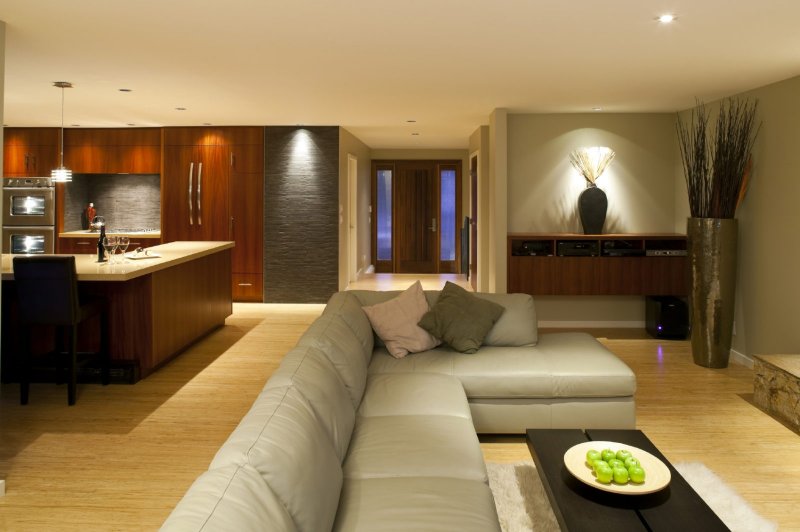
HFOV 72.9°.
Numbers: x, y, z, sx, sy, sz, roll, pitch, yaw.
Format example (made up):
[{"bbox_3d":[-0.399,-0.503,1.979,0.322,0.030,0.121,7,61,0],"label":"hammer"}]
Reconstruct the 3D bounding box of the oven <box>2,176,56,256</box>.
[{"bbox_3d":[-5.905,-0.790,8.579,0.799,1.150,0.371,0,13,2],"label":"oven"}]

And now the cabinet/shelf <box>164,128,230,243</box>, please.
[{"bbox_3d":[-3.279,-1.190,8.920,1.029,1.914,0.808,0,0,-12],"label":"cabinet/shelf"}]

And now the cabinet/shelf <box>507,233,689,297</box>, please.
[{"bbox_3d":[2.577,0.002,7.022,2.328,0.780,0.228,0,13,1],"label":"cabinet/shelf"}]

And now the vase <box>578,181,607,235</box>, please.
[{"bbox_3d":[2.517,-0.735,7.092,0.357,0.631,0.264,6,14,23],"label":"vase"}]

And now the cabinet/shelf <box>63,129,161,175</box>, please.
[{"bbox_3d":[-4.632,-1.855,8.721,1.538,0.688,0.341,3,13,11],"label":"cabinet/shelf"}]

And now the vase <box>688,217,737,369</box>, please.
[{"bbox_3d":[3.433,0.269,5.935,0.450,1.580,0.613,1,13,7],"label":"vase"}]

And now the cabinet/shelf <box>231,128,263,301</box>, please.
[{"bbox_3d":[-2.489,-0.864,8.886,0.529,2.930,0.643,-2,-7,2],"label":"cabinet/shelf"}]

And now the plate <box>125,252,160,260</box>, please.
[{"bbox_3d":[-2.755,-0.103,5.811,0.353,0.033,0.458,-6,14,-24],"label":"plate"}]

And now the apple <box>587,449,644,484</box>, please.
[{"bbox_3d":[1.274,1.169,3.168,0.199,0.072,0.204,-1,2,-21],"label":"apple"}]

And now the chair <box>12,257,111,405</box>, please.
[{"bbox_3d":[-3.164,0.548,5.053,0.769,1.355,0.787,-6,14,-24],"label":"chair"}]

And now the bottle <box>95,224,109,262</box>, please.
[{"bbox_3d":[-3.072,-0.256,5.559,0.111,0.394,0.378,-7,15,-28],"label":"bottle"}]
